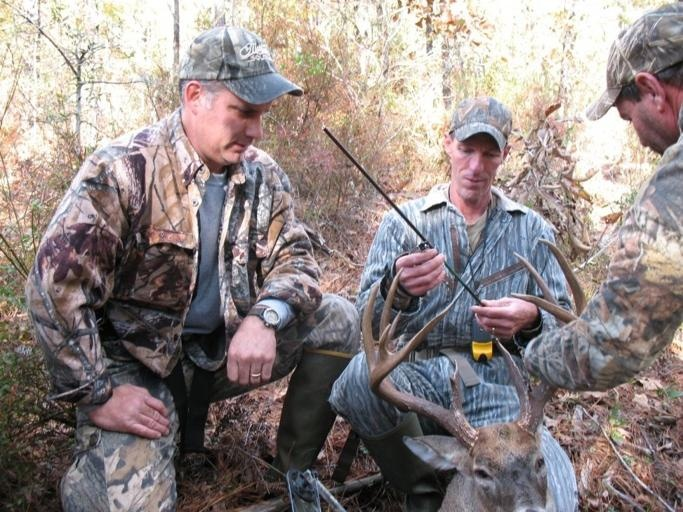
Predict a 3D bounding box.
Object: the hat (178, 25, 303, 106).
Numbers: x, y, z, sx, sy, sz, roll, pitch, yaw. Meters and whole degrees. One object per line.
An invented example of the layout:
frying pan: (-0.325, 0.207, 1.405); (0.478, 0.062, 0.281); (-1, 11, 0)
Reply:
hat: (-0.682, -1.259, 4.294); (0.721, 0.479, 0.506); (6, 15, 16)
